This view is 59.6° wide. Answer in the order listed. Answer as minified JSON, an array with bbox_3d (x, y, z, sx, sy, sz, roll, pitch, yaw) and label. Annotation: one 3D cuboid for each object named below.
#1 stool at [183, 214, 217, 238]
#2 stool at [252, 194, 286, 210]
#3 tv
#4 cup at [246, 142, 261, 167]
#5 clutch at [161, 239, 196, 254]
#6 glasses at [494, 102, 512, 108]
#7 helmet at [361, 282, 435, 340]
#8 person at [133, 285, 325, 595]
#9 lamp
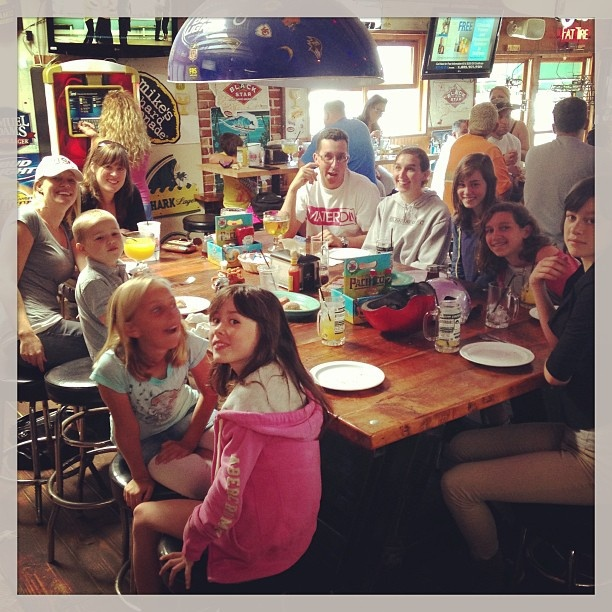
[{"bbox_3d":[-0.862,-0.657,4.257,0.281,0.151,0.264,8,19,12],"label":"stool"},{"bbox_3d":[-0.383,-1.004,5.233,0.251,0.099,0.263,0,21,-4],"label":"stool"},{"bbox_3d":[0.720,-1.190,2.449,0.298,0.254,0.445,-2,15,-2],"label":"tv"},{"bbox_3d":[-0.491,-1.479,5.256,0.121,0.219,0.322,0,15,6],"label":"cup"},{"bbox_3d":[-0.731,-0.343,3.067,0.134,0.036,0.115,11,15,27],"label":"clutch"},{"bbox_3d":[0.977,-0.997,2.659,0.061,0.039,0.059,-13,21,-41],"label":"glasses"},{"bbox_3d":[0.319,0.015,1.991,0.253,0.148,0.181,-9,4,-3],"label":"helmet"},{"bbox_3d":[-0.155,0.333,1.379,0.357,0.739,0.399,3,17,19],"label":"person"},{"bbox_3d":[-0.132,-0.771,1.611,0.667,0.207,0.330,1,15,11],"label":"lamp"}]
